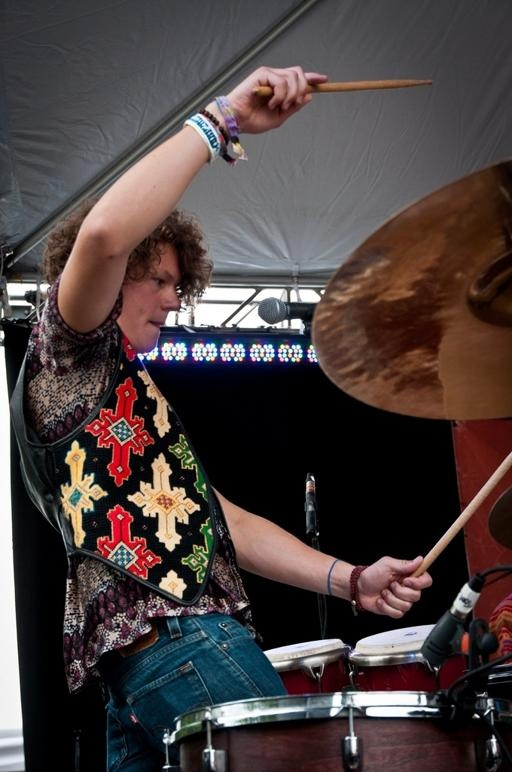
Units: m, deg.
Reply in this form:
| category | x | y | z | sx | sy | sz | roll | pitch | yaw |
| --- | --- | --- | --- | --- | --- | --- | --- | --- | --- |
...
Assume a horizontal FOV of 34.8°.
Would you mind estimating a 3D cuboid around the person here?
| category | x | y | z | sx | sy | sz | roll | pitch | yaw |
| --- | --- | --- | --- | --- | --- | --- | --- | --- | --- |
| person | -0.167 | 0.105 | 1.670 | 0.810 | 1.396 | 0.733 | -8 | -11 | 23 |

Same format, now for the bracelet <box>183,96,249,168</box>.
| category | x | y | z | sx | sy | sz | roll | pitch | yaw |
| --- | --- | --- | --- | --- | --- | --- | --- | --- | --- |
| bracelet | -0.072 | -0.483 | 1.525 | 0.112 | 0.136 | 0.053 | 6 | -14 | -42 |
